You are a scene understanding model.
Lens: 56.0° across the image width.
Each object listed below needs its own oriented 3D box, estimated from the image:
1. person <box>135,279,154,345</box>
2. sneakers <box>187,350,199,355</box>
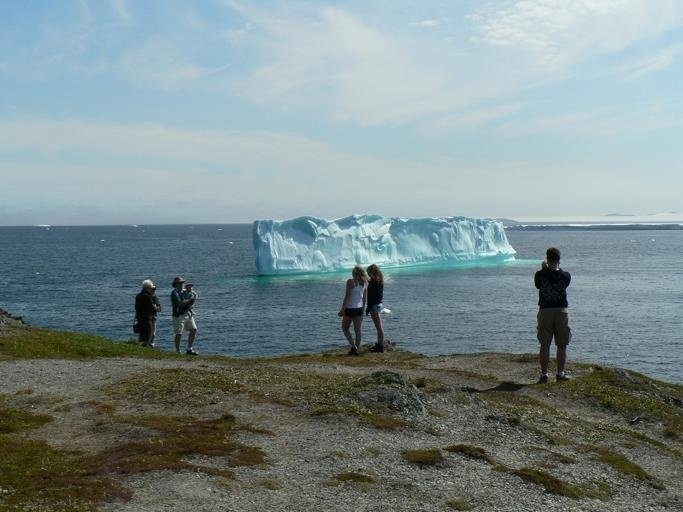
[{"bbox_3d":[-5.006,1.468,16.312,0.495,1.866,0.556,4,16,-14],"label":"person"},{"bbox_3d":[-3.768,2.420,16.218,0.329,0.143,0.096,-3,12,-21],"label":"sneakers"}]
